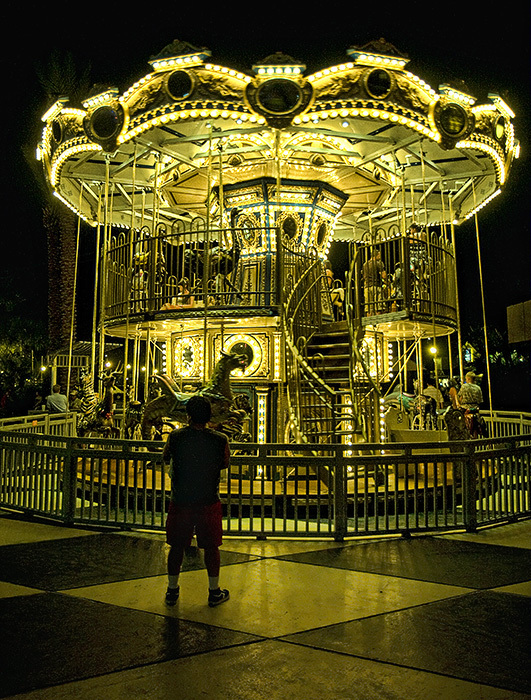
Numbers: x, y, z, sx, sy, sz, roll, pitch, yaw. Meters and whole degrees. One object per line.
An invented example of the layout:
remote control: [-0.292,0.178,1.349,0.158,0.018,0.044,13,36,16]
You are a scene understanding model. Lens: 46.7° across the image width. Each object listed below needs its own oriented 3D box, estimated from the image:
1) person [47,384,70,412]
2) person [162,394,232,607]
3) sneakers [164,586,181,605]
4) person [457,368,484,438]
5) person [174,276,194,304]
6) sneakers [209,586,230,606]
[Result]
person: [-5.054,1.194,15.070,0.530,0.654,1.201,3,-5,-18]
person: [-0.514,1.104,4.616,0.520,1.498,0.368,2,-5,-6]
sneakers: [-0.675,1.791,4.469,0.070,0.131,0.132,5,-24,-7]
person: [3.749,0.997,11.247,0.496,1.242,1.877,0,-5,19]
person: [-1.600,-1.158,12.050,0.387,0.713,0.718,7,6,-10]
sneakers: [-0.343,1.795,4.537,0.076,0.133,0.197,-2,-2,29]
